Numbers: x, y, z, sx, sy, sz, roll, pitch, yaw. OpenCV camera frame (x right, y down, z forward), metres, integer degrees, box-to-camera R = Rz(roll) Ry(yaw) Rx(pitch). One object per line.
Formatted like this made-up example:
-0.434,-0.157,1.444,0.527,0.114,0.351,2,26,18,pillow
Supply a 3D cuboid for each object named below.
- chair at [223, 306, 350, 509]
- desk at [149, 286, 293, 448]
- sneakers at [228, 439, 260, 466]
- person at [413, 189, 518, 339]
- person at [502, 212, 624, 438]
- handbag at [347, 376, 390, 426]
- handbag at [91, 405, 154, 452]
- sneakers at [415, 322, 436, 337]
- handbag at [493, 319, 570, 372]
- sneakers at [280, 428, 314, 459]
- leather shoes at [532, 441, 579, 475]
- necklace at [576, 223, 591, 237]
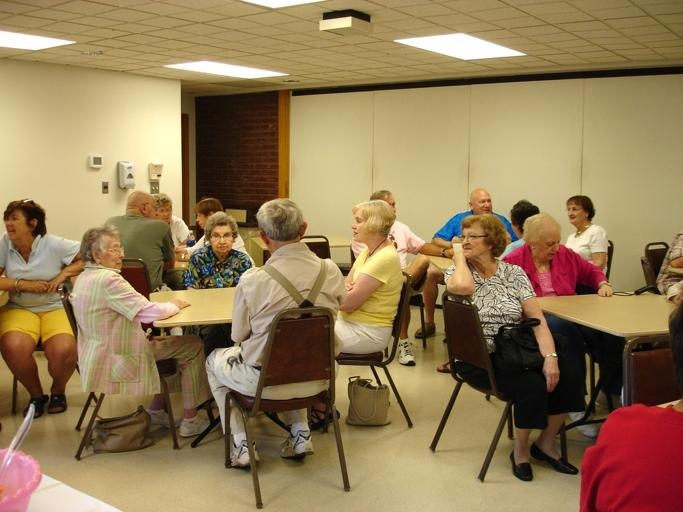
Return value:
-0.298,0.815,2.950,0.731,1.117,0.373,0,9,-8,chair
-0.744,0.720,3.216,0.693,0.244,1.039,-1,8,-21,desk
-0.623,1.239,3.293,0.106,0.138,0.290,-6,-3,-32,sneakers
1.500,0.077,6.021,1.000,1.739,0.989,6,11,24,person
1.674,0.436,3.813,0.803,1.421,0.909,-7,9,-13,person
0.203,1.098,3.837,0.337,0.358,0.186,1,8,5,handbag
-1.432,1.144,3.418,0.315,0.231,0.240,-1,3,-42,handbag
0.972,0.852,5.957,0.125,0.126,0.288,0,-2,44,sneakers
1.036,0.533,3.036,0.316,0.330,0.132,3,-35,-1,handbag
-0.282,1.223,3.343,0.117,0.144,0.284,1,-4,-17,sneakers
1.328,1.293,3.302,0.308,0.130,0.108,17,1,37,leather shoes
2.509,-0.283,5.387,0.101,0.108,0.135,5,10,38,necklace
